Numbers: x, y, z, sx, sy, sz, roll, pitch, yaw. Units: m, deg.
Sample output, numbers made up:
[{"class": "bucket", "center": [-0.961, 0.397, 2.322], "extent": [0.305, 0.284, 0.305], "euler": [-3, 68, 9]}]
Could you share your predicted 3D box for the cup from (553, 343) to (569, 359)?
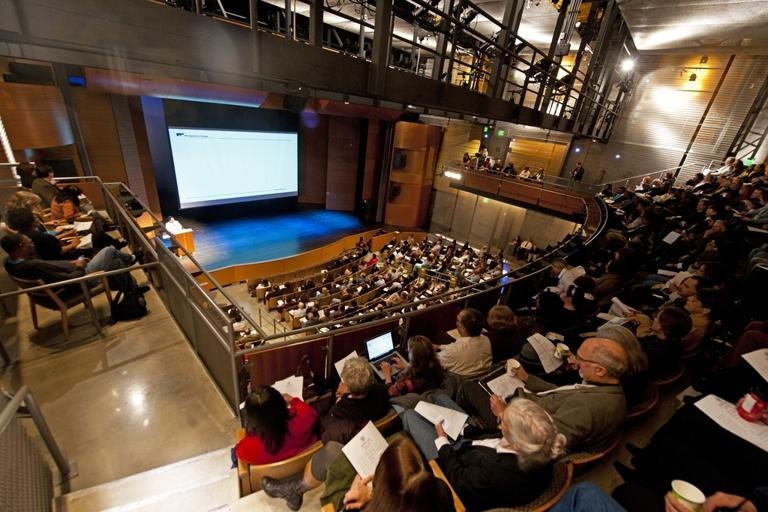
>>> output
[{"class": "cup", "center": [2.789, 1.483, 7.188], "extent": [0.204, 0.179, 0.239], "euler": [5, 28, 11]}]

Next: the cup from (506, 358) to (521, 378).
[{"class": "cup", "center": [1.972, 1.700, 7.052], "extent": [0.215, 0.213, 0.238], "euler": [-11, 34, -18]}]

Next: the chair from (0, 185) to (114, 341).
[{"class": "chair", "center": [-5.816, 0.188, 8.066], "extent": [1.399, 2.358, 1.583], "euler": [38, 39, 0]}]

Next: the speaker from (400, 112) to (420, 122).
[{"class": "speaker", "center": [1.105, -5.841, 19.124], "extent": [1.173, 0.382, 0.491], "euler": [-18, 28, -41]}]
